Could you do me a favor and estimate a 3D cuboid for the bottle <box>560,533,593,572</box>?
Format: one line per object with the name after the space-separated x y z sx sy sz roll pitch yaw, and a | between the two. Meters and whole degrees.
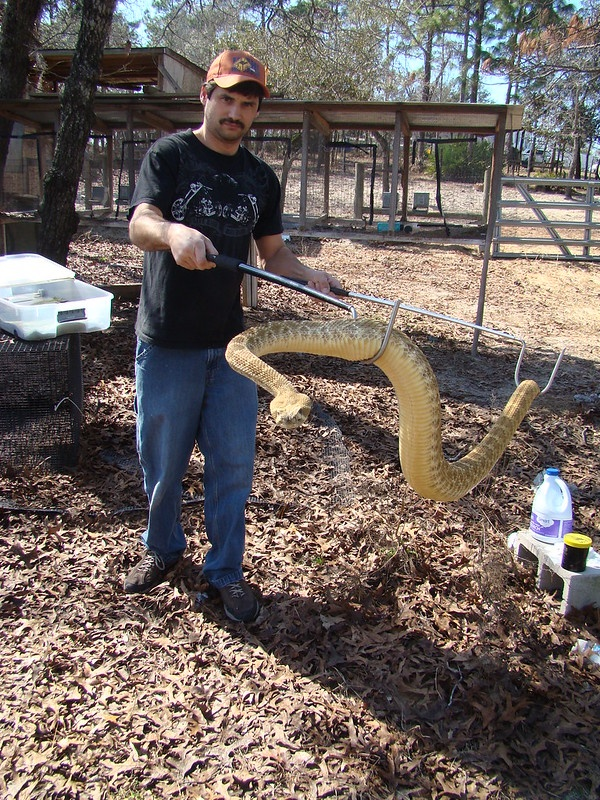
1.386 0.762 3.323 0.178 0.168 0.166 -1 15 -1 | bottle

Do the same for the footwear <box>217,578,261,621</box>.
-0.308 0.991 3.289 0.118 0.116 0.292 -10 11 -24 | footwear

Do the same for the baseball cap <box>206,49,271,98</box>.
-0.276 -1.411 2.850 0.210 0.147 0.270 -10 33 -30 | baseball cap

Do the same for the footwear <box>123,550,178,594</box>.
-0.774 0.910 3.464 0.125 0.125 0.329 26 20 9 | footwear

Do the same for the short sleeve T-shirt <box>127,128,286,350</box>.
-0.437 -0.725 3.040 0.767 0.977 0.390 2 10 -27 | short sleeve T-shirt

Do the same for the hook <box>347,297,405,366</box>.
0.306 -0.301 2.489 0.091 0.279 0.217 8 -15 31 | hook
